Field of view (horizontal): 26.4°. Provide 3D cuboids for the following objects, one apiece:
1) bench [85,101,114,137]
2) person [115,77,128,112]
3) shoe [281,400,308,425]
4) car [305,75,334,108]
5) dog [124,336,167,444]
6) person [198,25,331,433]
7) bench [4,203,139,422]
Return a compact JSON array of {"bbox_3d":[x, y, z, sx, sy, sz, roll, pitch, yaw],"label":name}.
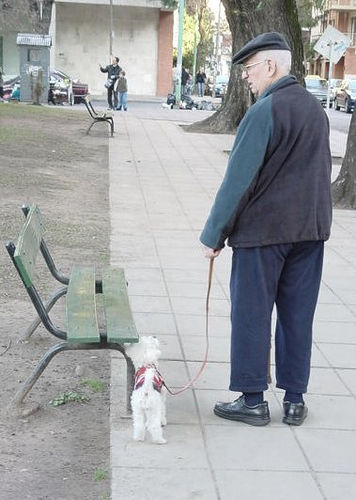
[{"bbox_3d":[-2.144,-3.870,21.234,0.717,0.717,8.875,1,13,-5],"label":"bench"},{"bbox_3d":[-1.993,-5.545,26.833,0.350,1.400,0.297,2,-15,-9],"label":"person"},{"bbox_3d":[0.600,0.811,3.828,0.171,0.103,0.111,-2,12,-20],"label":"shoe"},{"bbox_3d":[7.458,-8.524,40.450,1.360,1.606,3.364,-25,20,21],"label":"car"},{"bbox_3d":[-0.152,0.657,3.525,0.169,0.410,0.568,1,4,-4],"label":"dog"},{"bbox_3d":[0.422,-0.063,3.630,0.617,1.888,0.372,1,10,-1],"label":"person"},{"bbox_3d":[-0.640,0.215,4.684,0.796,0.970,2.523,1,12,-3],"label":"bench"}]
